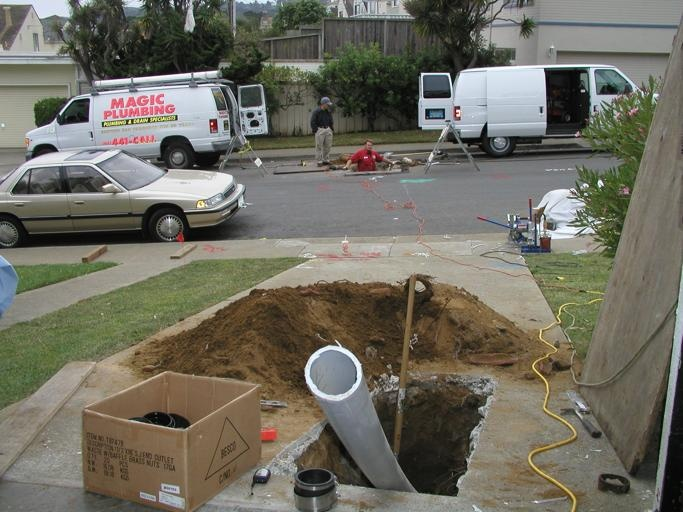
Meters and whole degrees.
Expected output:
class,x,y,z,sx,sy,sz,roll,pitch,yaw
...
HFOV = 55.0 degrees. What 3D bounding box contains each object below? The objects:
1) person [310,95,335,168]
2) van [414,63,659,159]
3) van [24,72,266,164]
class,x,y,z,sx,sy,sz,roll,pitch,yaw
person,-0.605,-3.777,19.817,0.603,1.994,1.574,-4,16,-2
van,5.230,-4.418,20.018,5.706,2.678,1.782,-3,15,1
van,-5.820,-4.031,20.150,6.899,2.943,3.701,-5,16,-6
